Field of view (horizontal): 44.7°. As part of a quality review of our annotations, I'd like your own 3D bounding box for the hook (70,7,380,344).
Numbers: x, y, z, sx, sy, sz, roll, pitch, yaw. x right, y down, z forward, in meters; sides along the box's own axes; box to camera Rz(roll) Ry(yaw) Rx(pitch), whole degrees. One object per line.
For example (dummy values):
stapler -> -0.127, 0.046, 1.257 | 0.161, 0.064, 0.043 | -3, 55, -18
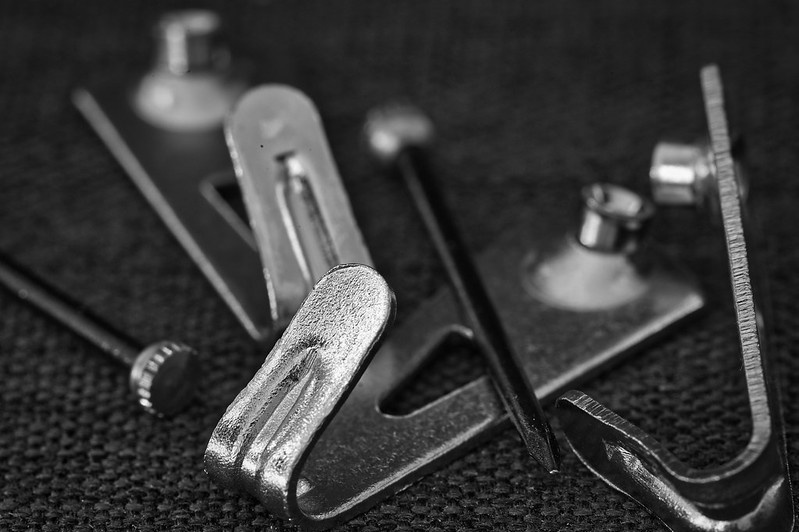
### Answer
hook -> -0.182, -0.088, 0.981 | 0.211, 0.123, 0.360 | -28, 67, -25
